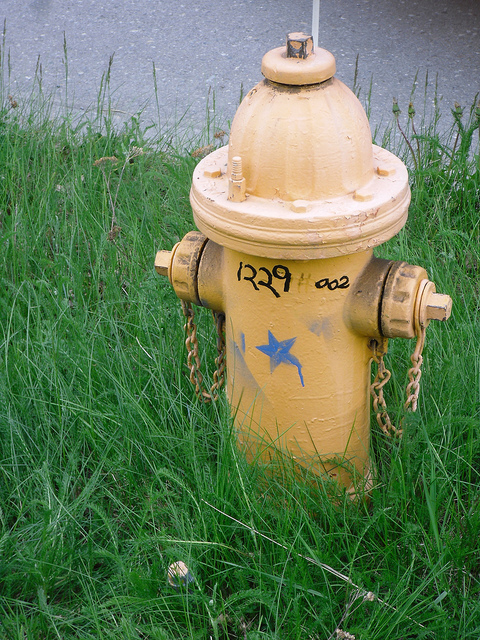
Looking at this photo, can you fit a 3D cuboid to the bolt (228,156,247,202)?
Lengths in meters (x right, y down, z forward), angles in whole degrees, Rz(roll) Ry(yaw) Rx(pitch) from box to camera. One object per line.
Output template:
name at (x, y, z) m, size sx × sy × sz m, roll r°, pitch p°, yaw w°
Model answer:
bolt at (-0.003, -0.316, 1.750) m, size 0.041 × 0.103 × 0.063 m, roll -3°, pitch 19°, yaw -7°

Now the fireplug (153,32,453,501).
fireplug at (0.153, -0.104, 2.010) m, size 0.746 × 1.186 × 0.570 m, roll 4°, pitch 19°, yaw 14°

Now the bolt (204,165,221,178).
bolt at (-0.072, -0.371, 1.937) m, size 0.032 × 0.012 × 0.036 m, roll 10°, pitch 34°, yaw 12°

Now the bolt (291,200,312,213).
bolt at (0.128, -0.250, 1.704) m, size 0.028 × 0.008 × 0.032 m, roll 6°, pitch 37°, yaw 8°

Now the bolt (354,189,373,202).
bolt at (0.270, -0.280, 1.744) m, size 0.028 × 0.008 × 0.032 m, roll 8°, pitch 36°, yaw 5°

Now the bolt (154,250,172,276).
bolt at (-0.205, -0.165, 2.175) m, size 0.057 × 0.053 × 0.077 m, roll 4°, pitch 63°, yaw -4°

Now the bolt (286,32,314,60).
bolt at (0.127, -0.602, 1.722) m, size 0.046 × 0.064 × 0.062 m, roll 2°, pitch 19°, yaw -3°
